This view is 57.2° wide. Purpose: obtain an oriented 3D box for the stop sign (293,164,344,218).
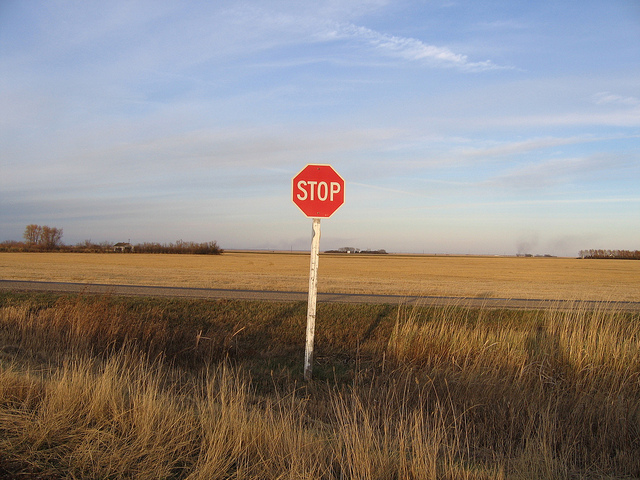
[{"bbox_3d":[-0.073,-1.036,12.820,1.037,1.083,0.337,1,0,13],"label":"stop sign"}]
